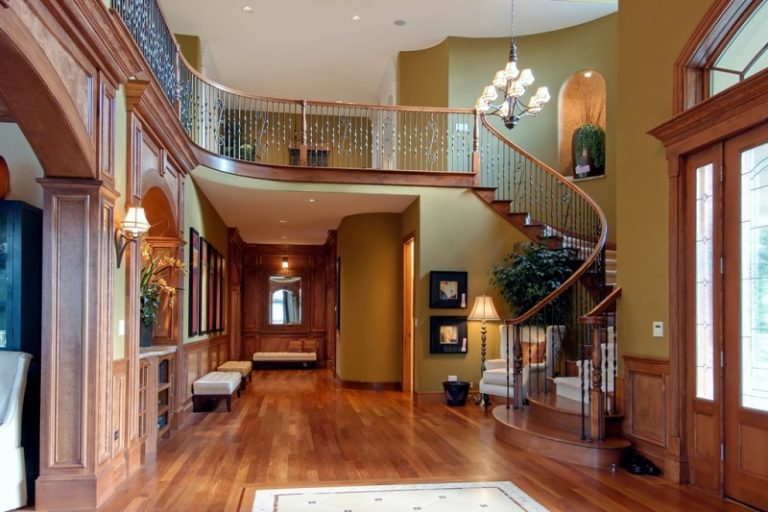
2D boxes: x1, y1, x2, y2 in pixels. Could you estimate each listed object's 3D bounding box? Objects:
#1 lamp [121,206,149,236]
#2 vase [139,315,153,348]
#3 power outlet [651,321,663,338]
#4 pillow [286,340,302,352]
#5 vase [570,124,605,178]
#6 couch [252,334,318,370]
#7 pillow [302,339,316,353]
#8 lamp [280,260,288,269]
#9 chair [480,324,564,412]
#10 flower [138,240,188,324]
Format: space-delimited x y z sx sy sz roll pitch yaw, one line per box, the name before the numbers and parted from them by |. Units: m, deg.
lamp | -2.767 -0.392 6.646 0.297 0.357 0.292 0 4 -38
vase | -3.148 0.990 7.847 0.139 0.415 0.423 0 -2 -25
power outlet | 3.127 0.836 6.828 0.037 0.240 0.168 6 -7 -20
pillow | -2.585 2.591 17.267 0.296 0.264 0.310 0 -8 -3
vase | 4.146 -2.186 12.677 0.584 1.175 0.655 -4 7 -3
couch | -2.746 2.740 16.799 1.873 0.805 1.296 0 -2 -10
pillow | -2.162 2.578 17.261 0.368 0.377 0.296 1 -10 -6
lamp | -2.971 0.256 17.742 0.209 0.296 0.209 2 -7 -13
chair | 2.248 1.777 9.785 0.983 1.366 1.021 8 -8 -37
flower | -3.245 0.414 8.200 0.612 1.129 0.736 15 8 37
